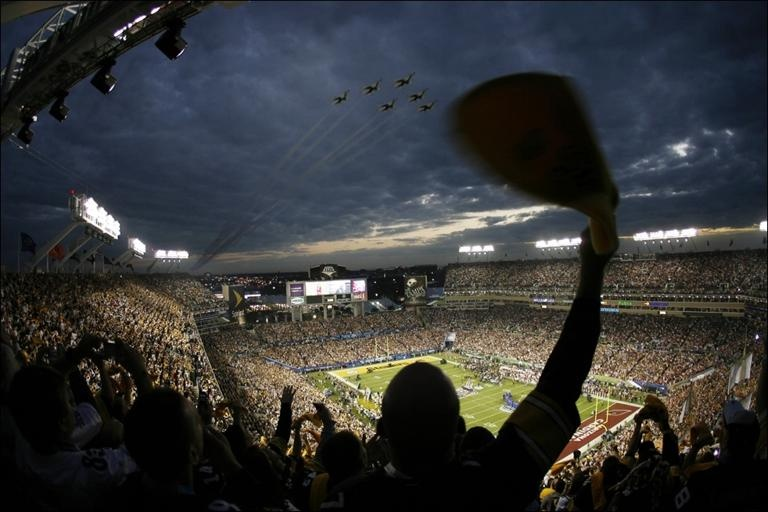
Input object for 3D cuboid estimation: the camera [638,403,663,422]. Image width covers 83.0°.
[{"bbox_3d":[3.310,1.914,5.338,0.328,0.222,0.116,-6,35,-36],"label":"camera"}]
